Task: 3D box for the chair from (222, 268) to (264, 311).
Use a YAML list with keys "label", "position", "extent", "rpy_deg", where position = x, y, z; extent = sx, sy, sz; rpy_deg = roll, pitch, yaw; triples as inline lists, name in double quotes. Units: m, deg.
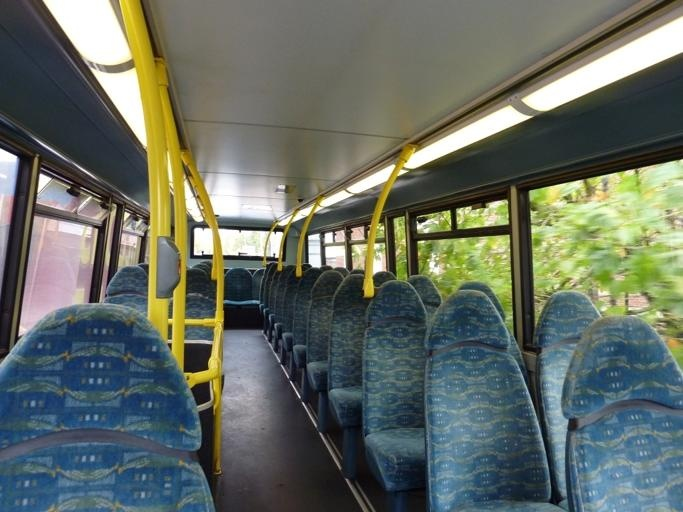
- label: "chair"
  position: [-2.054, 0.768, 9.360]
  extent: [0.888, 0.848, 0.713]
  rpy_deg: [4, -10, -23]
